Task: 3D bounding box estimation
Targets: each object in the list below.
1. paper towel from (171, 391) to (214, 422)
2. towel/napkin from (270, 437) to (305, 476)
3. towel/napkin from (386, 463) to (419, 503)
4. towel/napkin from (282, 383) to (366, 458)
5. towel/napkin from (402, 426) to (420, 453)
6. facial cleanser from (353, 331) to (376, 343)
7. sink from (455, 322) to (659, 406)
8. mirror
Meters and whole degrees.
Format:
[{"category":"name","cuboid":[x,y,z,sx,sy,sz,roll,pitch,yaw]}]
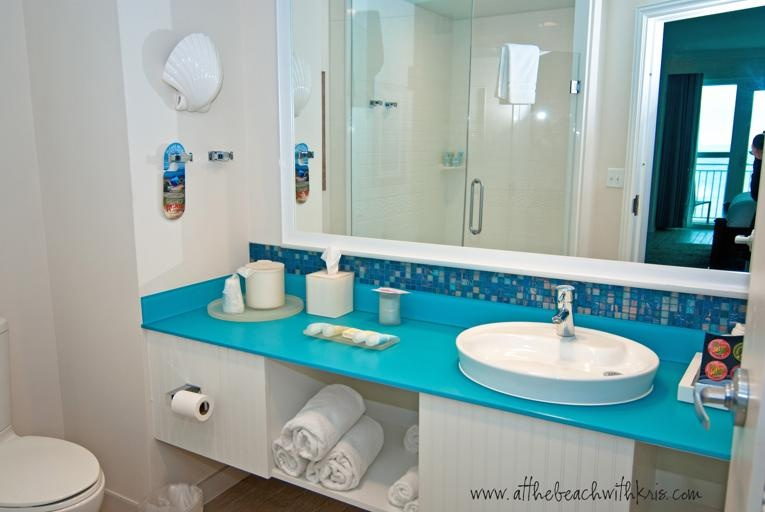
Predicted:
[{"category":"paper towel","cuboid":[-0.821,0.635,2.284,0.186,0.127,0.126,-3,2,35]},{"category":"towel/napkin","cuboid":[-0.401,0.876,2.305,0.161,0.163,0.063,18,35,24]},{"category":"towel/napkin","cuboid":[0.107,0.968,2.208,0.153,0.112,0.123,-7,14,-34]},{"category":"towel/napkin","cuboid":[-0.242,0.723,2.392,0.201,0.122,0.336,14,19,25]},{"category":"towel/napkin","cuboid":[0.129,0.870,2.536,0.106,0.120,0.038,-21,-27,26]},{"category":"facial cleanser","cuboid":[-0.067,0.338,2.260,0.059,0.020,0.060,2,4,24]},{"category":"sink","cuboid":[0.635,0.395,2.000,0.715,0.164,0.415,3,12,10]},{"category":"mirror","cuboid":[0.354,-0.569,2.398,1.830,1.243,0.131,6,14,23]}]
